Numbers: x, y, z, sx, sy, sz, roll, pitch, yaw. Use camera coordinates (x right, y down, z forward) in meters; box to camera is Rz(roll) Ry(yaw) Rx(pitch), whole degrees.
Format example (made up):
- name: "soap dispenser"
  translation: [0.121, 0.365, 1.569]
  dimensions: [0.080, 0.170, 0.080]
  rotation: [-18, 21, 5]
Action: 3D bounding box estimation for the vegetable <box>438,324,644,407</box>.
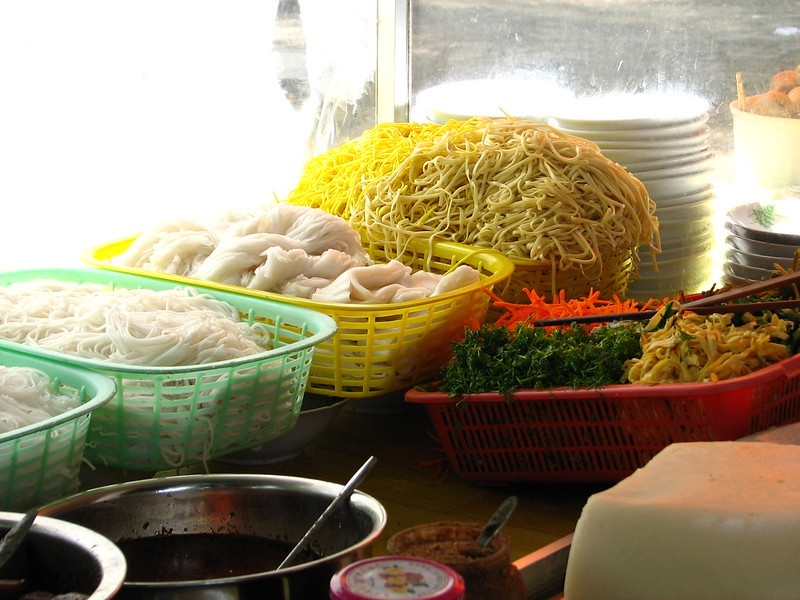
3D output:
- name: "vegetable"
  translation: [0.224, 0.091, 1.175]
  dimensions: [0.234, 0.054, 0.181]
  rotation: [-4, 0, -14]
